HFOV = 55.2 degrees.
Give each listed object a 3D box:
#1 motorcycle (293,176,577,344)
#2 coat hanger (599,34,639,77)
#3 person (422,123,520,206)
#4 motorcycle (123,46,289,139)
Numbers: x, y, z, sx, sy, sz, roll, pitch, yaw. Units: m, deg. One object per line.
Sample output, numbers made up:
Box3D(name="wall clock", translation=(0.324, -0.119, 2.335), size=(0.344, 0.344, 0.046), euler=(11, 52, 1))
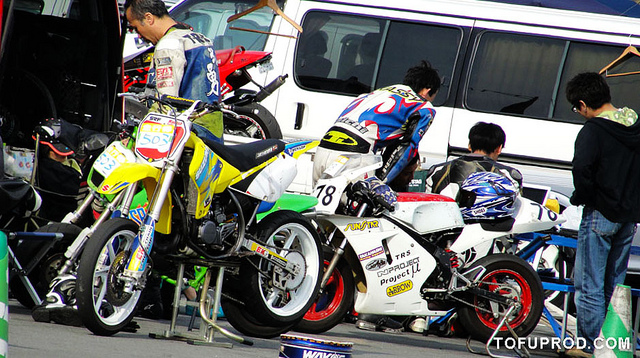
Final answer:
Box3D(name="motorcycle", translation=(1.319, 1.015, 7.929), size=(3.912, 1.928, 1.235), euler=(6, -3, -12))
Box3D(name="coat hanger", translation=(4.811, -2.034, 9.886), size=(1.039, 0.683, 0.085), euler=(0, -2, 5))
Box3D(name="person", translation=(2.210, -0.186, 8.868), size=(0.945, 0.966, 0.528), euler=(15, 16, 16))
Box3D(name="motorcycle", translation=(-2.083, -1.474, 10.884), size=(3.269, 1.974, 1.472), euler=(3, 1, 33))
